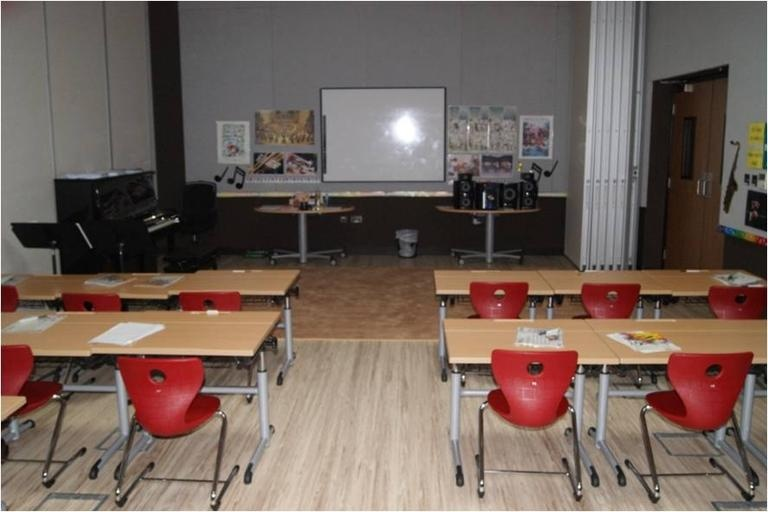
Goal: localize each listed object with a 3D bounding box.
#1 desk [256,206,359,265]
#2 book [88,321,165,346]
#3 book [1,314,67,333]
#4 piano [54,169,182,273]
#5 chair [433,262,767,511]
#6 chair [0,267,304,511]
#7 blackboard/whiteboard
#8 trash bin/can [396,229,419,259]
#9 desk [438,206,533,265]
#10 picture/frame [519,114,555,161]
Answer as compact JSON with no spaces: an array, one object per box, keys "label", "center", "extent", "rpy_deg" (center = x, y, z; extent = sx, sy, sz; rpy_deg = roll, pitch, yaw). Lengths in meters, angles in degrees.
[{"label":"desk","center":[-1.477,-0.395,10.351],"extent":[1.440,0.849,1.392],"rpy_deg":[0,6,-1]},{"label":"book","center":[-2.101,0.635,4.364],"extent":[0.419,0.052,0.460],"rpy_deg":[3,14,21]},{"label":"book","center":[-3.007,0.583,4.593],"extent":[0.346,0.046,0.453],"rpy_deg":[-3,13,-6]},{"label":"piano","center":[-3.882,-0.462,7.642],"extent":[0.932,1.081,1.560],"rpy_deg":[-1,14,-3]},{"label":"chair","center":[1.923,0.908,5.111],"extent":[2.763,1.168,2.489],"rpy_deg":[-1,13,2]},{"label":"chair","center":[-1.891,1.447,5.296],"extent":[2.364,0.887,1.801],"rpy_deg":[0,16,3]},{"label":"blackboard/whiteboard","center":[-0.054,-2.339,10.499],"extent":[2.636,1.795,0.101],"rpy_deg":[-3,14,-12]},{"label":"trash bin/can","center":[0.451,-0.222,10.410],"extent":[0.488,0.490,0.524],"rpy_deg":[-1,10,-3]},{"label":"desk","center":[1.925,-0.429,10.159],"extent":[1.743,1.078,1.045],"rpy_deg":[-1,14,4]},{"label":"picture/frame","center":[2.975,-2.318,10.341],"extent":[0.914,1.048,0.075],"rpy_deg":[-1,7,-1]}]
